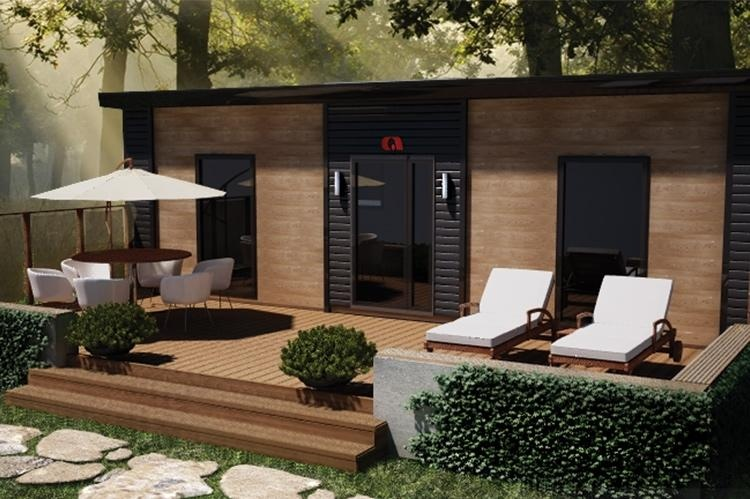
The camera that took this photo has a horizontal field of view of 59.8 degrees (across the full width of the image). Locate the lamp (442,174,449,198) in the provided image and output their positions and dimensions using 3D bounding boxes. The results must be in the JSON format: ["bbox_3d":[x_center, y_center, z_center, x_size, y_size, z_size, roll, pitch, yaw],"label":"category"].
[{"bbox_3d":[1.221,-1.079,11.233,0.141,0.441,0.099,2,8,13],"label":"lamp"}]

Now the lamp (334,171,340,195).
[{"bbox_3d":[-0.676,-1.202,11.950,0.117,0.442,0.080,1,8,4],"label":"lamp"}]

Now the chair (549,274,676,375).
[{"bbox_3d":[3.181,1.014,8.811,1.270,1.006,1.924,2,5,40],"label":"chair"}]

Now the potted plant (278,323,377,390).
[{"bbox_3d":[-0.569,1.295,8.039,1.009,0.514,0.910,-1,3,20],"label":"potted plant"}]

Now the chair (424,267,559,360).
[{"bbox_3d":[1.724,0.854,9.370,1.136,0.928,2.037,2,5,38],"label":"chair"}]

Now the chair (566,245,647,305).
[{"bbox_3d":[3.657,0.356,10.686,0.673,0.626,1.211,1,5,32],"label":"chair"}]

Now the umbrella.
[{"bbox_3d":[-4.100,-0.327,10.877,2.243,1.794,2.352,1,2,39],"label":"umbrella"}]

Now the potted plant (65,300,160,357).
[{"bbox_3d":[-3.770,1.075,9.297,0.922,0.571,0.902,-2,5,-31],"label":"potted plant"}]
